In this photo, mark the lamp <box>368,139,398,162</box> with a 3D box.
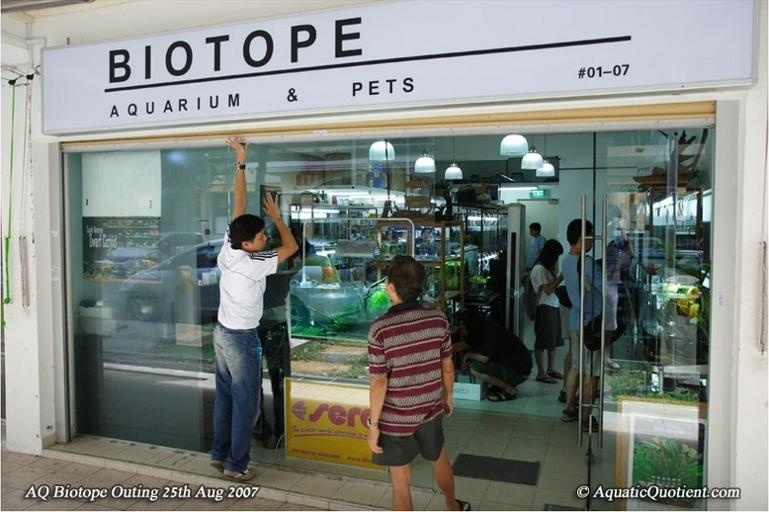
[{"bbox_3d":[-0.003,-0.921,5.042,0.205,0.173,0.197,-6,14,-16],"label":"lamp"}]

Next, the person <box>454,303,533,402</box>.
[{"bbox_3d":[1.133,1.101,6.454,1.088,0.973,0.685,1,-7,-5],"label":"person"}]

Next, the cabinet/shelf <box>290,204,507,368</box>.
[{"bbox_3d":[0.044,0.240,5.139,1.824,1.449,0.613,1,-1,10],"label":"cabinet/shelf"}]

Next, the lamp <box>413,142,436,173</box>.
[{"bbox_3d":[0.340,-0.818,4.937,0.221,0.223,0.213,-3,9,-6],"label":"lamp"}]

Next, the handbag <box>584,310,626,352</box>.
[{"bbox_3d":[1.839,0.676,4.868,0.258,0.320,0.267,-3,35,5],"label":"handbag"}]

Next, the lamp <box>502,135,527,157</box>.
[{"bbox_3d":[1.212,-1.013,5.353,0.216,0.185,0.206,0,-4,2],"label":"lamp"}]

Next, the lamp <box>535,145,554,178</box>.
[{"bbox_3d":[1.778,-1.005,6.387,0.226,0.232,0.219,-3,2,18],"label":"lamp"}]

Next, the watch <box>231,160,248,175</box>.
[{"bbox_3d":[-1.324,-0.810,5.333,0.096,0.114,0.070,0,1,-10],"label":"watch"}]

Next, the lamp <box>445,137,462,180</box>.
[{"bbox_3d":[0.644,-0.854,5.287,0.097,0.354,0.465,-1,4,17],"label":"lamp"}]

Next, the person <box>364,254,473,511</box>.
[{"bbox_3d":[0.228,1.047,4.362,0.701,2.078,0.301,-2,3,-12],"label":"person"}]

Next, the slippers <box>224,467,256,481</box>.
[{"bbox_3d":[-1.281,1.981,5.183,0.233,0.090,0.118,-3,3,-22],"label":"slippers"}]
